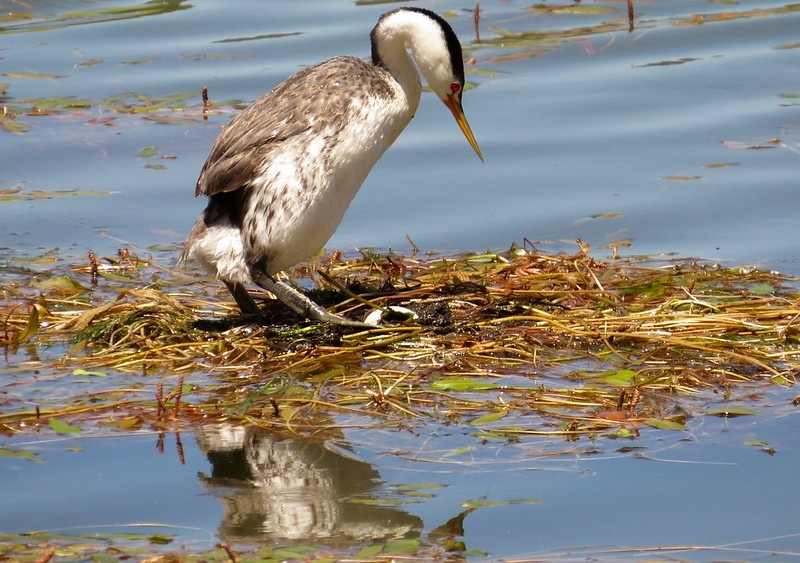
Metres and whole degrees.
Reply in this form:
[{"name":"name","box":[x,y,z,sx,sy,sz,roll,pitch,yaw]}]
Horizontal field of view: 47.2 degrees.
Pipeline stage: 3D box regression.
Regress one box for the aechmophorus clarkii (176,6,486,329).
[{"name":"aechmophorus clarkii","box":[-0.342,-0.662,5.094,1.386,1.800,0.782,-12,13,-35]}]
